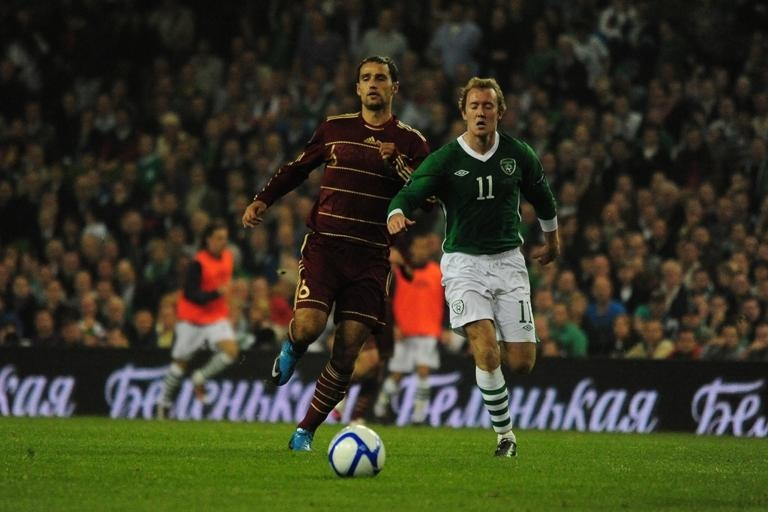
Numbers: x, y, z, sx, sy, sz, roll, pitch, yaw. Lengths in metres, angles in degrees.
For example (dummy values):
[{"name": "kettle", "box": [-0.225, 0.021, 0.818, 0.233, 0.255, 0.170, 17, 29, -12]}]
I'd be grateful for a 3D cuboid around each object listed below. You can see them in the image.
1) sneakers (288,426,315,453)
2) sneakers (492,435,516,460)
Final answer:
[{"name": "sneakers", "box": [-0.972, 2.208, 15.236, 0.314, 0.291, 0.274, 6, -7, -19]}, {"name": "sneakers", "box": [1.446, 2.315, 15.275, 0.268, 0.240, 0.251, 3, -7, 5]}]
